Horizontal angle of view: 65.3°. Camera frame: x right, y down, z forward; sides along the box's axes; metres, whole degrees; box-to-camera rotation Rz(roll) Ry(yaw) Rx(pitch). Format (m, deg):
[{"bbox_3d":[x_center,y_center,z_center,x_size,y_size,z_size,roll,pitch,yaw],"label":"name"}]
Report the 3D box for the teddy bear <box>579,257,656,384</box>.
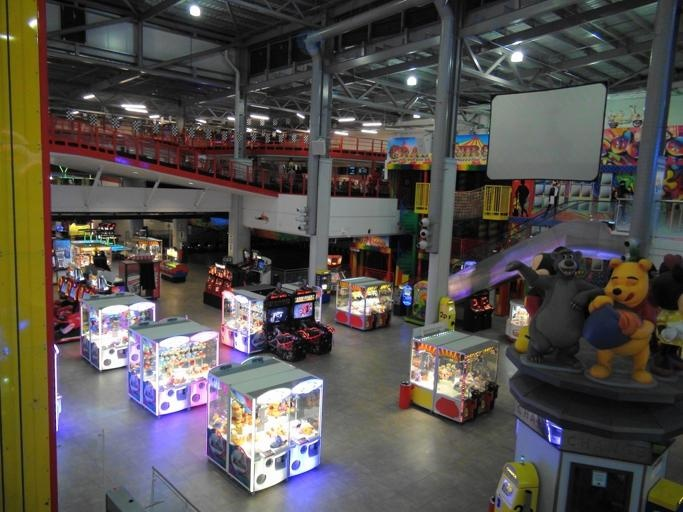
[{"bbox_3d":[3.723,0.842,7.011,1.113,1.581,0.749,-6,16,-33],"label":"teddy bear"}]
